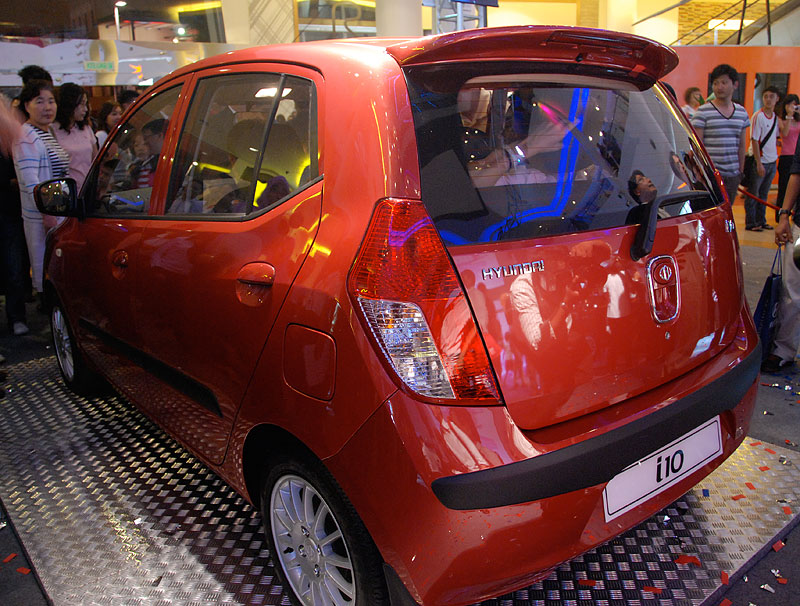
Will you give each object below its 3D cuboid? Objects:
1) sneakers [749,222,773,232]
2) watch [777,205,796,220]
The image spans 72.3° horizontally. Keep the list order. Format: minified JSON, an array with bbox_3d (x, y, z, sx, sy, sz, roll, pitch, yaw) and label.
[{"bbox_3d":[5.021,-1.083,7.727,0.249,0.119,0.083,-10,15,6],"label":"sneakers"},{"bbox_3d":[2.248,-0.535,3.212,0.066,0.038,0.096,0,3,-2],"label":"watch"}]
